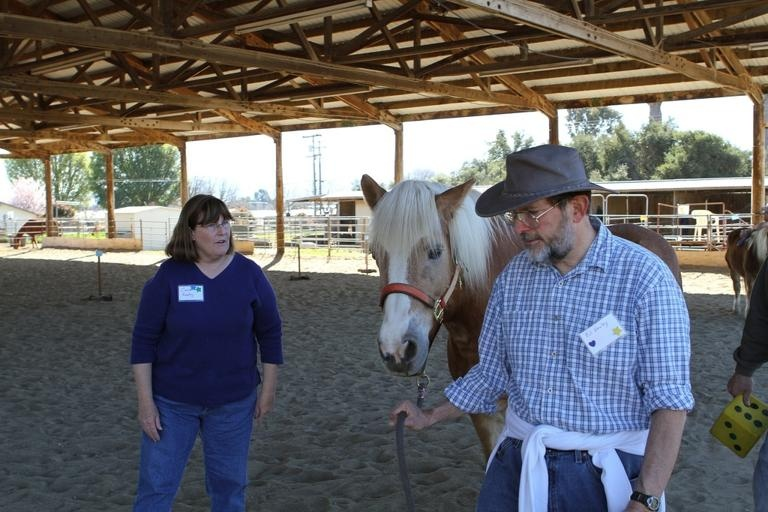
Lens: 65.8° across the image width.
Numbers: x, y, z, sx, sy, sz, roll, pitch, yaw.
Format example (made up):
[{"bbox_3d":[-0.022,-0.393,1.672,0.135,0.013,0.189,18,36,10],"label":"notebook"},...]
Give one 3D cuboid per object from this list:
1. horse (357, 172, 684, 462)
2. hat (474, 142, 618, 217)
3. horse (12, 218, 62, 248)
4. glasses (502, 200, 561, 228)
[{"bbox_3d":[0.832,0.544,4.640,0.832,2.119,3.169,-1,-1,32],"label":"horse"},{"bbox_3d":[0.769,-0.398,2.861,0.705,0.247,0.576,-10,16,-5],"label":"hat"},{"bbox_3d":[-15.419,-1.046,26.422,1.802,1.175,3.963,-5,8,-29],"label":"horse"},{"bbox_3d":[0.711,-0.199,2.749,0.171,0.050,0.131,-26,11,-34],"label":"glasses"}]
